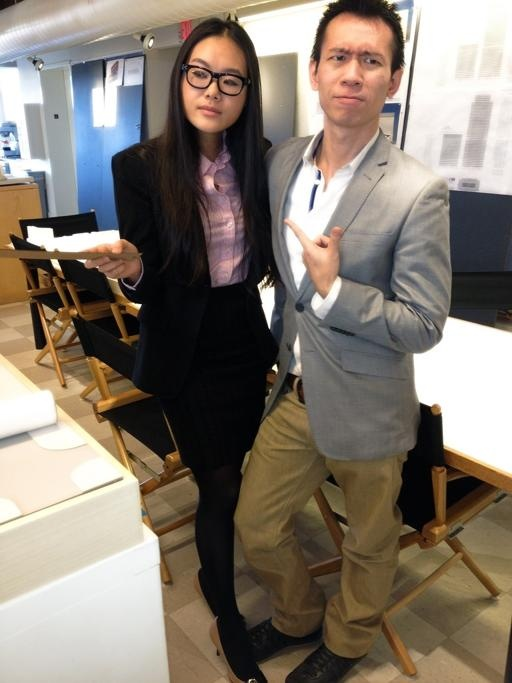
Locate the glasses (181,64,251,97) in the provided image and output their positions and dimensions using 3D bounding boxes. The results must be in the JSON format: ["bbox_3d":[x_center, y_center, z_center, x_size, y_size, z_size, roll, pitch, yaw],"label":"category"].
[{"bbox_3d":[-0.094,-0.619,1.188,0.158,0.069,0.051,-3,22,-9],"label":"glasses"}]
